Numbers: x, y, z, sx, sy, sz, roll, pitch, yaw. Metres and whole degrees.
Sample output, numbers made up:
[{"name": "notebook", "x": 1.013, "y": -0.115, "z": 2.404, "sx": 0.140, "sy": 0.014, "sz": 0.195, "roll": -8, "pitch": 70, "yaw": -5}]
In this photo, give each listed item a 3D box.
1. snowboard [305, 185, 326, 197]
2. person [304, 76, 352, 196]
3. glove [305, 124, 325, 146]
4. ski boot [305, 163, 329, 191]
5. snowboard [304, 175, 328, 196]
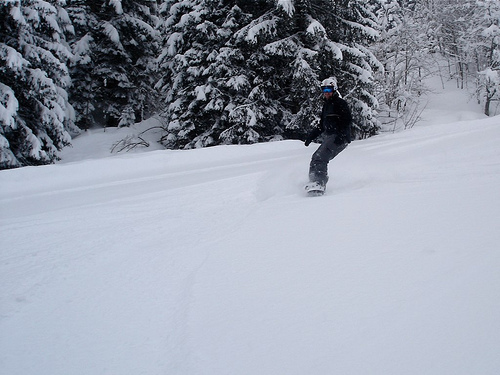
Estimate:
[{"name": "snowboard", "x": 0.974, "y": 0.060, "z": 6.349, "sx": 0.293, "sy": 0.146, "sz": 0.556, "roll": -4, "pitch": 15, "yaw": 8}, {"name": "person", "x": 1.247, "y": -0.911, "z": 6.959, "sx": 0.741, "sy": 1.627, "sz": 1.707, "roll": -2, "pitch": 15, "yaw": 14}, {"name": "glove", "x": 1.128, "y": -0.933, "z": 7.719, "sx": 0.154, "sy": 0.654, "sz": 0.199, "roll": -2, "pitch": 55, "yaw": -18}, {"name": "ski boot", "x": 1.048, "y": -0.193, "z": 6.579, "sx": 0.324, "sy": 0.394, "sz": 0.547, "roll": -8, "pitch": 53, "yaw": 17}, {"name": "snowboard", "x": 0.996, "y": -0.013, "z": 6.437, "sx": 0.317, "sy": 0.236, "sz": 0.457, "roll": -3, "pitch": 15, "yaw": 11}]
